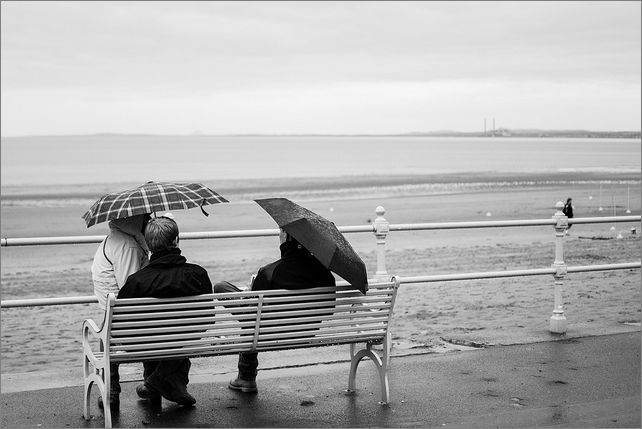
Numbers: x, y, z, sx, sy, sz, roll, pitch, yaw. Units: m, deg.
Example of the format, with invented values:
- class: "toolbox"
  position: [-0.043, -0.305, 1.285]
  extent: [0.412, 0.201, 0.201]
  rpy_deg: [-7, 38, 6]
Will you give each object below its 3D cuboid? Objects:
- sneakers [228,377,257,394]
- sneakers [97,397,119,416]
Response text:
- class: "sneakers"
  position: [-1.036, 2.291, 14.288]
  extent: [0.382, 0.168, 0.162]
  rpy_deg: [8, 7, 24]
- class: "sneakers"
  position: [-2.739, 2.445, 13.685]
  extent: [0.144, 0.209, 0.358]
  rpy_deg: [-1, 15, -22]
